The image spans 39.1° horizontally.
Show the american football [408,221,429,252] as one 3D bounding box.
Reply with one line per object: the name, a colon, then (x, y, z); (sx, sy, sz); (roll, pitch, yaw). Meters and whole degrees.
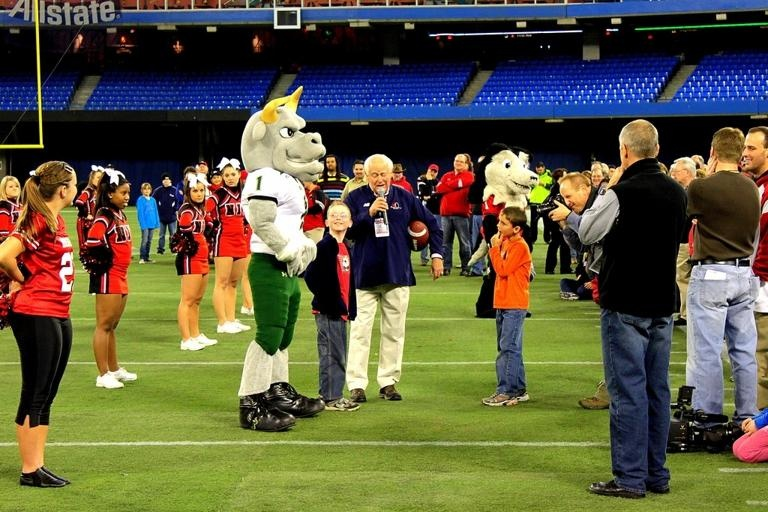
american football: (0.401, -0.246, 12.617); (0.266, 0.290, 0.265); (15, 34, 39)
